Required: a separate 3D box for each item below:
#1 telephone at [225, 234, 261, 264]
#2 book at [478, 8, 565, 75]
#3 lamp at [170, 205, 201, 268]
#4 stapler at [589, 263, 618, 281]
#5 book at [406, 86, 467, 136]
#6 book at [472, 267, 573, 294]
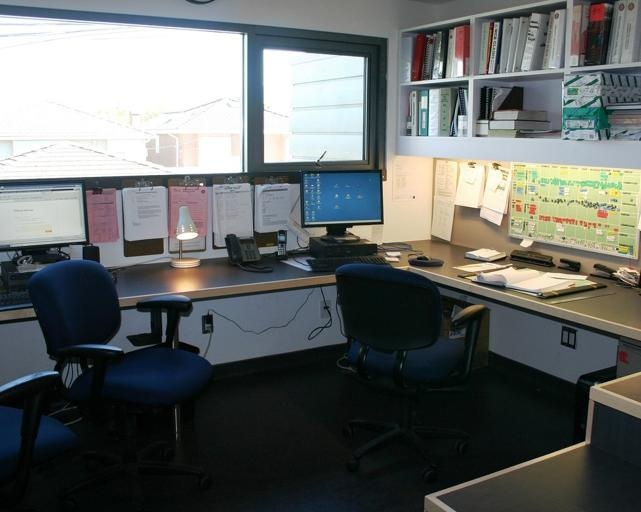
[{"bbox_3d":[-0.499,-0.043,3.290,0.198,0.170,0.157,-3,13,-17],"label":"telephone"},{"bbox_3d":[1.198,-1.270,3.069,0.153,0.362,0.597,-5,14,-23],"label":"book"},{"bbox_3d":[-0.866,-0.125,3.251,0.178,0.386,0.284,-3,13,-14],"label":"lamp"},{"bbox_3d":[1.675,0.105,3.025,0.058,0.083,0.189,-3,6,-9],"label":"stapler"},{"bbox_3d":[0.831,-1.010,3.614,0.234,0.312,0.436,-6,10,-39],"label":"book"},{"bbox_3d":[1.134,0.137,2.840,0.219,0.042,0.241,-12,17,-37],"label":"book"}]
